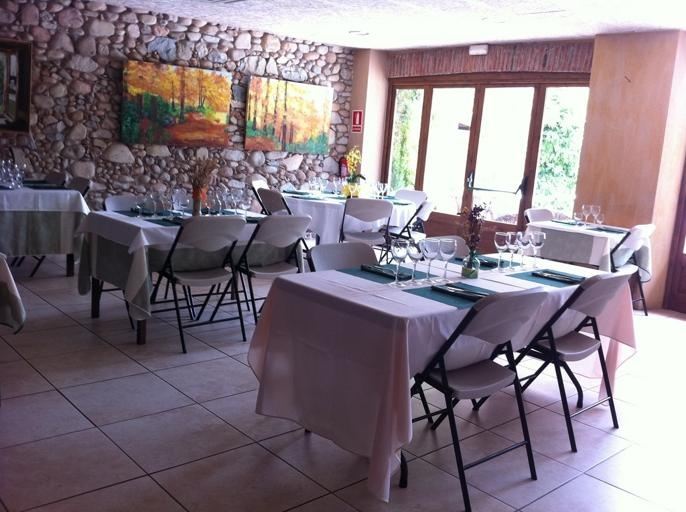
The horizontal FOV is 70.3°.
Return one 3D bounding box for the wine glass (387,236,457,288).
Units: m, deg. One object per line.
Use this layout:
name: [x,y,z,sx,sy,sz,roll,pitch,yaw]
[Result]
wine glass: [0.503,-0.009,2.936,0.299,0.426,0.299,0,19,-15]
